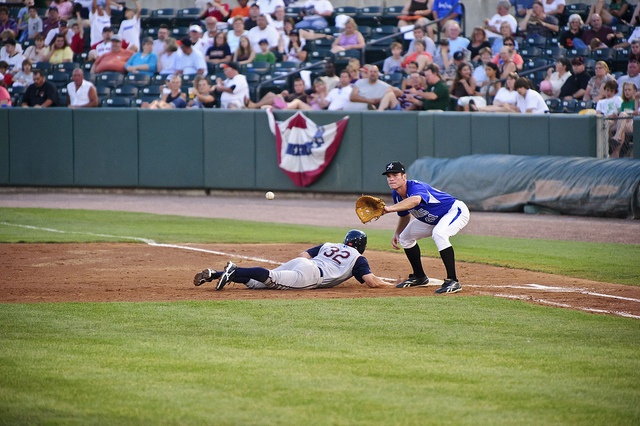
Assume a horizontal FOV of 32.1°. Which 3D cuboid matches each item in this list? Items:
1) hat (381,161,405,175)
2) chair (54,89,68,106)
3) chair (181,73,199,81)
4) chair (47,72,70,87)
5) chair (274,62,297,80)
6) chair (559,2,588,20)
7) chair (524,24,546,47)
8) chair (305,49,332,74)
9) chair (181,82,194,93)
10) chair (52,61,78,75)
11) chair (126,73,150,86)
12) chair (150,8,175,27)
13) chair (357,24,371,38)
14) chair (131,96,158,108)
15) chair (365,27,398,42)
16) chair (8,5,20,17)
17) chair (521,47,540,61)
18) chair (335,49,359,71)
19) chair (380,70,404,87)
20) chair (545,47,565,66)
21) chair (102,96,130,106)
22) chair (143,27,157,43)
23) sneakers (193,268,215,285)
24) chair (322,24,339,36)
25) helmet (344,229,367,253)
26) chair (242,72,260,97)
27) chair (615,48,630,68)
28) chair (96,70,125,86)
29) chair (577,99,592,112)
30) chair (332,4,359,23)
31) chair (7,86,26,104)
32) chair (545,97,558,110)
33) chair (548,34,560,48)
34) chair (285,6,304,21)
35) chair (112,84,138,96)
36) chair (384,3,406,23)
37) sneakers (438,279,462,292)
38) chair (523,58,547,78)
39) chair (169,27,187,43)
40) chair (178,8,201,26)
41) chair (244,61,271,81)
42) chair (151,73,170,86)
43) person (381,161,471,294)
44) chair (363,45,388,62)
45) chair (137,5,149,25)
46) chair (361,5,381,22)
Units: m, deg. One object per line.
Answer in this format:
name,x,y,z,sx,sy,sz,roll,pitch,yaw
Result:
hat,1.242,-0.721,17.777,0.358,0.161,0.243,2,-5,-40
chair,-6.487,-2.882,27.963,0.414,0.493,0.500,-1,-2,-5
chair,-3.170,-3.237,26.970,0.440,0.188,0.117,5,5,36
chair,-6.604,-3.348,28.087,0.447,0.376,0.416,3,6,-7
chair,-0.832,-3.397,26.728,0.401,0.493,0.434,0,4,-1
chair,6.303,-4.932,27.535,0.497,0.617,0.591,3,7,21
chair,5.172,-4.185,26.508,0.578,0.542,0.338,4,5,25
chair,0.014,-3.663,26.982,0.571,0.669,0.612,0,1,8
chair,-3.230,-2.987,26.828,0.294,0.340,0.310,0,-2,-2
chair,-6.493,-3.676,28.348,0.430,0.405,0.444,0,-3,-5
chair,-4.549,-3.267,27.613,0.721,0.343,0.198,5,5,33
chair,-4.259,-5.271,30.211,0.631,0.527,0.520,1,11,5
chair,1.115,-4.512,27.831,0.300,0.289,0.317,7,16,18
chair,-4.342,-2.711,27.312,0.771,0.263,0.289,4,5,27
chair,1.549,-4.439,27.586,0.353,0.330,0.895,-2,6,-42
chair,-8.874,-5.772,32.227,0.327,0.325,0.398,-1,-5,-6
chair,4.966,-3.716,26.164,0.377,0.407,0.357,2,4,37
chair,0.628,-3.655,26.635,0.522,0.399,0.495,4,25,9
chair,1.677,-3.108,25.875,0.443,0.270,0.336,7,4,7
chair,5.417,-3.626,25.894,0.424,0.480,0.453,1,4,23
chair,-5.088,-2.718,27.507,0.777,0.234,0.301,4,5,22
chair,-4.490,-4.734,29.650,0.502,0.447,0.439,0,8,-7
sneakers,-1.809,1.014,17.384,0.175,0.172,0.354,10,-27,-37
chair,0.291,-4.529,27.755,0.294,0.377,0.301,0,5,1
helmet,0.588,0.468,17.860,0.306,0.346,0.392,22,12,38
chair,-1.619,-3.065,26.807,0.546,0.559,0.482,1,14,4
chair,6.819,-3.456,25.131,0.425,0.524,0.391,2,16,5
chair,-5.246,-3.308,27.798,0.499,0.260,0.456,5,14,11
chair,5.697,-2.288,23.945,0.263,0.229,0.193,4,-10,-12
chair,0.656,-5.130,28.819,0.458,0.563,0.525,0,3,4
chair,-7.681,-2.944,28.215,0.564,0.523,0.463,0,-2,-3
chair,5.110,-2.372,24.528,0.306,0.267,0.217,-5,39,0
chair,5.594,-4.029,26.335,0.365,0.282,0.269,-2,6,-42
chair,-0.667,-5.115,28.888,0.429,0.434,0.685,2,4,-3
chair,-4.833,-2.986,27.562,0.638,0.281,0.145,4,5,24
chair,1.859,-5.003,28.345,0.453,0.435,0.493,1,8,6
sneakers,2.087,1.195,17.796,0.444,0.169,0.157,-1,-3,-26
chair,5.030,-3.351,25.927,0.557,0.574,0.490,0,7,14
chair,-3.657,-4.539,28.622,0.700,0.301,0.812,0,16,-1
chair,-3.554,-5.278,30.046,0.599,0.525,0.499,1,7,0
chair,-1.550,-3.397,26.779,0.543,0.480,0.490,0,3,2
chair,-3.965,-3.247,27.460,0.384,0.234,0.331,2,16,4
person,1.690,0.251,17.894,1.365,2.054,0.884,3,5,2
chair,1.385,-3.819,26.865,0.738,0.475,0.385,1,15,2
chair,-4.954,-5.330,30.429,0.386,0.468,0.439,0,4,-3
chair,1.312,-5.047,28.554,0.483,0.376,0.451,0,1,11
